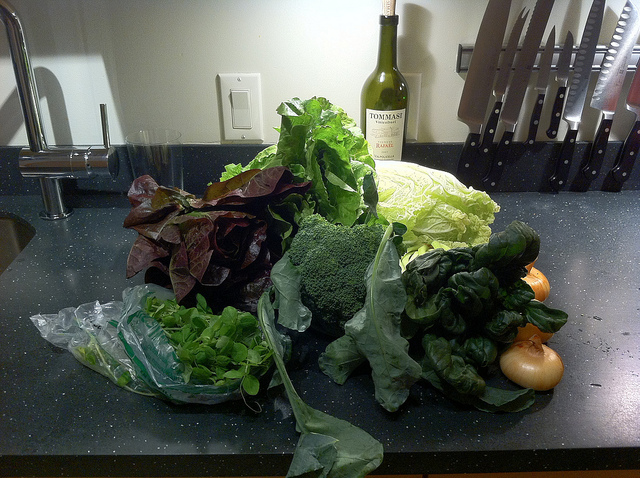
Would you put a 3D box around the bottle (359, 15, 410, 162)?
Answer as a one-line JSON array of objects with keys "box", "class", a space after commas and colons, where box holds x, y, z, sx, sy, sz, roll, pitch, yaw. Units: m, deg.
[{"box": [0.152, -0.347, 1.124, 0.130, 0.358, 0.260, 4, 25, 9], "class": "bottle"}]

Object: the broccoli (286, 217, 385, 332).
[{"box": [0.023, 0.054, 0.800, 0.163, 0.194, 0.061, 7, -12, 23], "class": "broccoli"}]

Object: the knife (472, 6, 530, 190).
[{"box": [0.457, -0.333, 1.234, 0.071, 0.522, 0.024, 14, 30, 1], "class": "knife"}]

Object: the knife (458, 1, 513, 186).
[{"box": [0.417, -0.372, 1.212, 0.080, 0.448, 0.132, 11, 27, 23], "class": "knife"}]
